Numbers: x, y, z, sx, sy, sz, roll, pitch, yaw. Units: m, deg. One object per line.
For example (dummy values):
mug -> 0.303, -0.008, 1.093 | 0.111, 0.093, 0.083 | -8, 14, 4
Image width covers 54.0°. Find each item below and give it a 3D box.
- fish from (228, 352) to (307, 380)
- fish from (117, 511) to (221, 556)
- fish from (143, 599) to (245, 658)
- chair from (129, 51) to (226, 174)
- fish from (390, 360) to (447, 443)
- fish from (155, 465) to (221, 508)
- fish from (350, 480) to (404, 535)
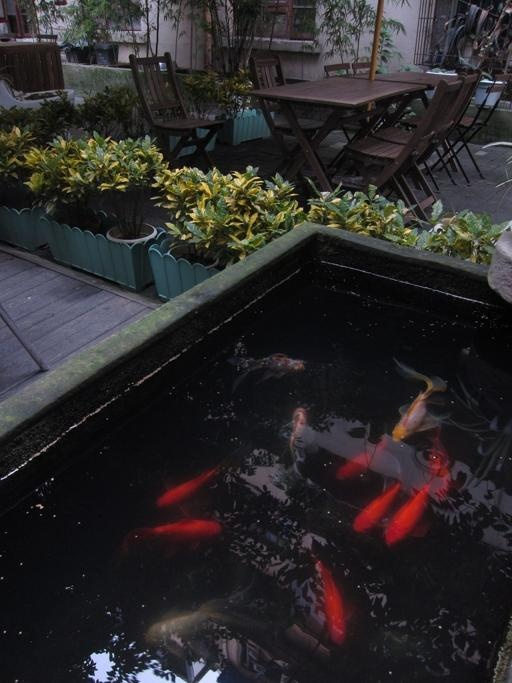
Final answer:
fish -> 0.042, 0.099, 1.704 | 0.258, 0.084, 0.089 | 1, 45, -20
fish -> -0.185, 0.420, 1.116 | 0.240, 0.070, 0.071 | -12, 56, 1
fish -> -0.118, 0.518, 0.918 | 0.167, 0.017, 0.075 | -15, 37, -26
chair -> -0.727, -2.029, 4.609 | 0.793, 1.021, 0.860 | -9, 35, -18
fish -> 0.483, 0.187, 1.499 | 0.157, 0.120, 0.274 | -4, 38, 41
fish -> -0.168, 0.349, 1.194 | 0.169, 0.042, 0.045 | -15, 50, -39
fish -> 0.289, 0.374, 1.195 | 0.046, 0.049, 0.205 | 28, 32, 31
